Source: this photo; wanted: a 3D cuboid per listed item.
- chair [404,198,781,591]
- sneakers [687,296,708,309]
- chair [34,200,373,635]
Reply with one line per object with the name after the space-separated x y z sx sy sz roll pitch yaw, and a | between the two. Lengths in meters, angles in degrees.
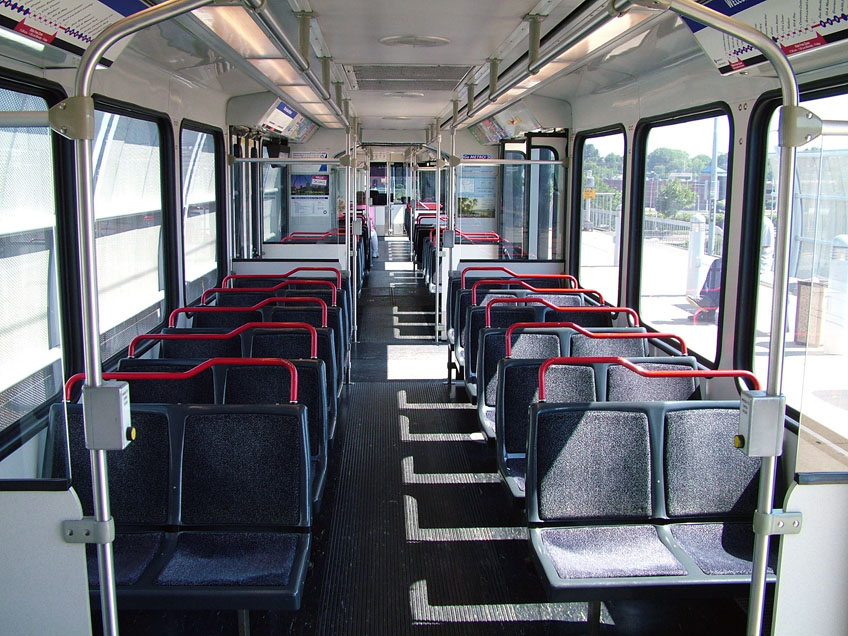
0.920 0.480 3.208 1.387 1.195 0.977 0 -4 -1 | chair
2.660 -0.158 6.224 0.182 0.097 0.290 -3 5 7 | sneakers
-1.072 0.661 3.706 1.091 0.844 2.388 0 10 -4 | chair
